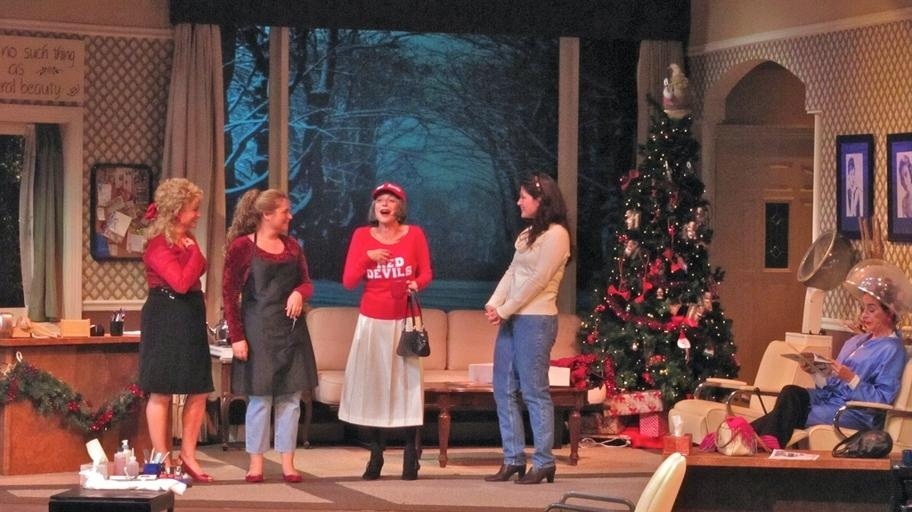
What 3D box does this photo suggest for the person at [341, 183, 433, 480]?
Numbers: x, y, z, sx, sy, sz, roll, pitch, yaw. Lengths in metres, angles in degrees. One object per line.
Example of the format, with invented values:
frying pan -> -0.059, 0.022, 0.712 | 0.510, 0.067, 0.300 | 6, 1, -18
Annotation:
person -> -0.665, 0.725, 8.799 | 0.850, 2.765, 0.369 | 0, 1, -4

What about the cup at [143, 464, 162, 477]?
cup -> -2.286, 1.603, 7.145 | 0.108, 0.061, 0.103 | 0, -2, 0

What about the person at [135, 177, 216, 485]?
person -> -2.589, 0.694, 8.745 | 0.650, 2.793, 0.395 | -1, 1, -18

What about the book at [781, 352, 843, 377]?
book -> 3.228, 0.973, 8.575 | 0.322, 0.075, 0.328 | 11, -4, -23

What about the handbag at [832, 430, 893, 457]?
handbag -> 3.481, 1.627, 8.143 | 0.375, 0.147, 0.275 | -13, -6, 21

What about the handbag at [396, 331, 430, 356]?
handbag -> -0.410, 0.798, 8.654 | 0.249, 0.214, 0.114 | 1, 4, 0

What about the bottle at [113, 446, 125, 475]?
bottle -> -2.542, 1.554, 7.181 | 0.088, 0.173, 0.202 | -1, 0, -23

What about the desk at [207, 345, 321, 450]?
desk -> -2.140, 1.424, 10.561 | 1.087, 1.282, 1.426 | 3, -6, -18

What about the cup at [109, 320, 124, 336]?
cup -> -3.271, 0.695, 9.209 | 0.137, 0.118, 0.126 | 3, -8, 0

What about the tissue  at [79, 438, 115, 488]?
tissue  -> -2.716, 1.558, 7.187 | 0.205, 0.300, 0.425 | -1, 0, -20

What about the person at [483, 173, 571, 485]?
person -> 0.666, 0.677, 8.868 | 0.778, 2.872, 0.385 | 0, 1, 5

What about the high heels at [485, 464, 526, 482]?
high heels -> 0.482, 2.032, 8.973 | 0.476, 0.207, 0.151 | 2, -2, 1

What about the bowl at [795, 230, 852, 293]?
bowl -> 3.969, 0.121, 10.044 | 0.609, 0.621, 0.393 | -18, 37, -26

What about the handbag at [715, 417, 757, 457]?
handbag -> 2.364, 1.542, 8.060 | 0.356, 0.293, 0.279 | -2, -3, 18

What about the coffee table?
coffee table -> 0.179, 1.674, 9.940 | 1.271, 0.567, 0.982 | 1, -7, -9

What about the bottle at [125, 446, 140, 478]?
bottle -> -2.446, 1.554, 7.173 | 0.093, 0.180, 0.211 | -1, 0, -20
